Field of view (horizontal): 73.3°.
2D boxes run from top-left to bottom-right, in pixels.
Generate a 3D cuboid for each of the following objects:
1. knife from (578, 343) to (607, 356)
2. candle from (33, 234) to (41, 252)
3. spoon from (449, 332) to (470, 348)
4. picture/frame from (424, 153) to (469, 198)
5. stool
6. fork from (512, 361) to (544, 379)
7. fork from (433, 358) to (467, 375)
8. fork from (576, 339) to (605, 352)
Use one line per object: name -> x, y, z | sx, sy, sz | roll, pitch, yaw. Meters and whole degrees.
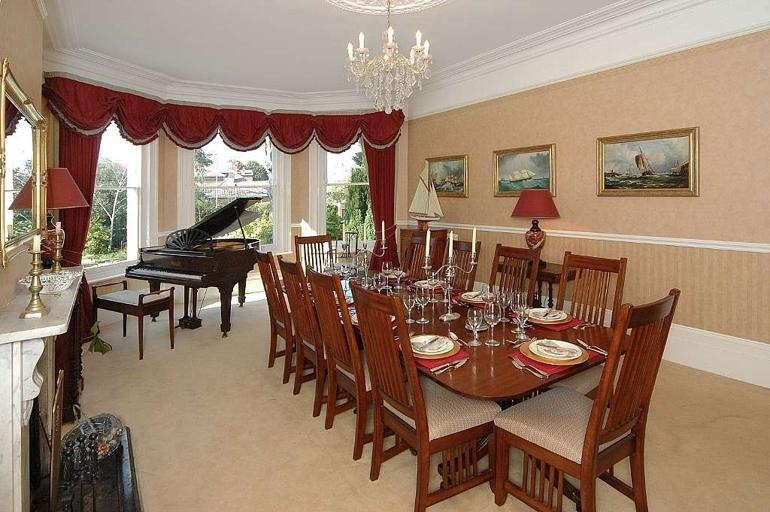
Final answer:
knife -> 1.703, 0.758, 4.196 | 0.058, 0.032, 0.226 | -13, 14, -22
candle -> -2.635, -0.090, 3.893 | 0.093, 0.136, 0.042 | 5, 9, 43
spoon -> 0.623, 0.710, 4.356 | 0.058, 0.052, 0.289 | -23, 15, -8
picture/frame -> 1.011, -1.291, 8.407 | 0.082, 0.669, 0.847 | -6, 8, -38
stool -> -2.989, 0.774, 6.365 | 0.953, 0.831, 0.626 | 1, 6, 15
fork -> 1.114, 0.882, 4.002 | 0.072, 0.048, 0.296 | 2, 8, -16
fork -> 0.502, 0.863, 4.027 | 0.184, 0.035, 0.039 | -15, 34, -16
fork -> 1.691, 0.740, 4.244 | 0.062, 0.037, 0.270 | -12, 14, -23
